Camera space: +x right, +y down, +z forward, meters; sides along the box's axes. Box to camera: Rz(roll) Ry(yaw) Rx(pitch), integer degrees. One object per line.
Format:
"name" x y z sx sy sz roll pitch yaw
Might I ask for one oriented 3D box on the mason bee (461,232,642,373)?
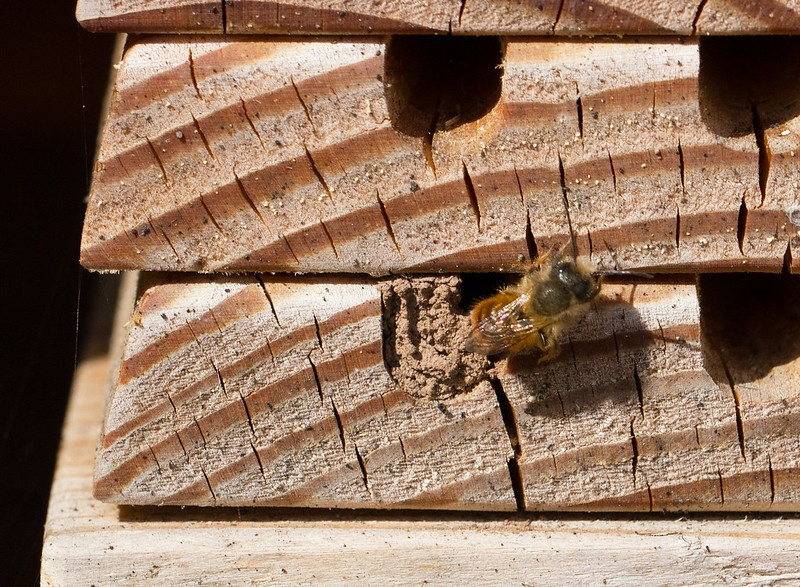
"mason bee" 0.407 0.062 4.209 0.411 0.120 0.299 -26 28 15
